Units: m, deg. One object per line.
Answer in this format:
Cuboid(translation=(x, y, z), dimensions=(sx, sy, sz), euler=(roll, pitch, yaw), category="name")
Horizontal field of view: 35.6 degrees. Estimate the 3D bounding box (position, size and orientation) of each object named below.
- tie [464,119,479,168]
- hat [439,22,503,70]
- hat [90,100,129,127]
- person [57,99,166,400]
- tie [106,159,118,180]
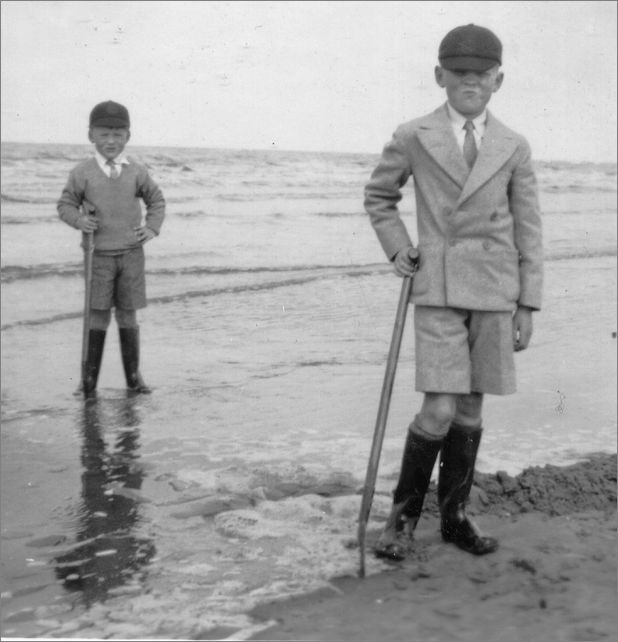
Cuboid(translation=(0.553, -0.611, 3.312), dimensions=(0.047, 0.158, 0.060), euler=(2, 12, 7), category="tie")
Cuboid(translation=(0.556, -0.951, 3.324), dimensions=(0.218, 0.165, 0.308), euler=(2, 13, 2), category="hat")
Cuboid(translation=(-1.038, -1.078, 5.011), dimensions=(0.122, 0.099, 0.169), euler=(0, 1, -12), category="hat")
Cuboid(translation=(-1.060, -0.402, 5.232), dimensions=(0.576, 1.564, 0.351), euler=(-3, 13, -16), category="person")
Cuboid(translation=(-1.060, -0.826, 5.212), dimensions=(0.056, 0.100, 0.025), euler=(-15, 4, -20), category="tie")
